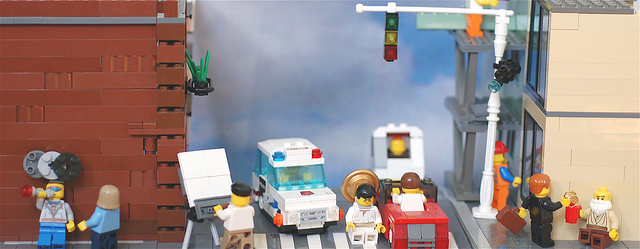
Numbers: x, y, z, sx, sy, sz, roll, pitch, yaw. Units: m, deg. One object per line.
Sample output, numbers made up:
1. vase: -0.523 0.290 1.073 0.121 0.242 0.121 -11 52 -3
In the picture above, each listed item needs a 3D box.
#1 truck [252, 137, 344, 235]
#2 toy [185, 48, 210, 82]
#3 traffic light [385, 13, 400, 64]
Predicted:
1. truck: -0.572 1.417 29.021 1.978 1.744 2.878 -8 23 -12
2. toy: -2.981 -1.425 28.050 0.656 0.819 0.374 -4 -6 -21
3. traffic light: 1.742 -2.139 28.132 0.438 1.137 0.290 -8 -5 3
